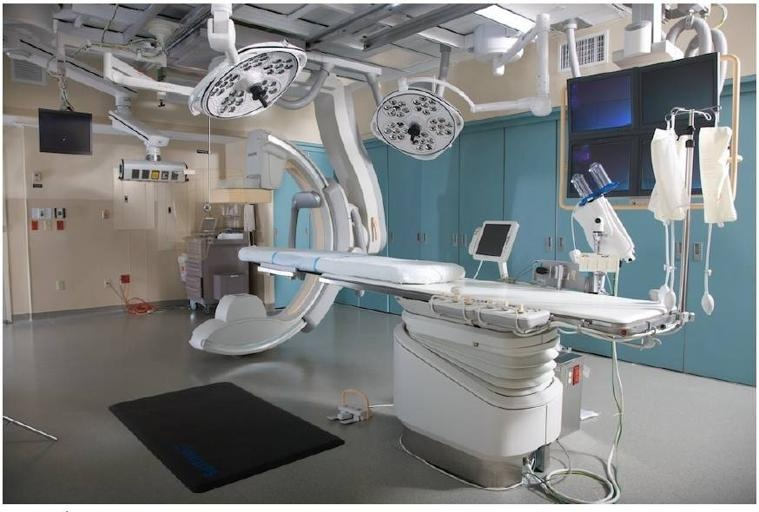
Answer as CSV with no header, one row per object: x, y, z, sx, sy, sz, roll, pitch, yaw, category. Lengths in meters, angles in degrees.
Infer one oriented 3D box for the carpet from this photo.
-1.313,1.424,4.265,1.783,0.056,1.143,12,17,43,carpet

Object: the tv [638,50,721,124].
2.118,-1.180,3.657,0.521,0.473,0.118,10,17,36,tv

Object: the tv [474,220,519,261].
0.960,-0.120,4.289,0.111,0.336,0.381,22,-10,-38,tv

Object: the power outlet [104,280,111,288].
-4.003,0.410,7.543,0.136,0.125,0.070,-1,6,-27,power outlet

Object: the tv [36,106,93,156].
-3.352,-1.319,5.468,0.493,0.455,0.240,-8,16,-31,tv
